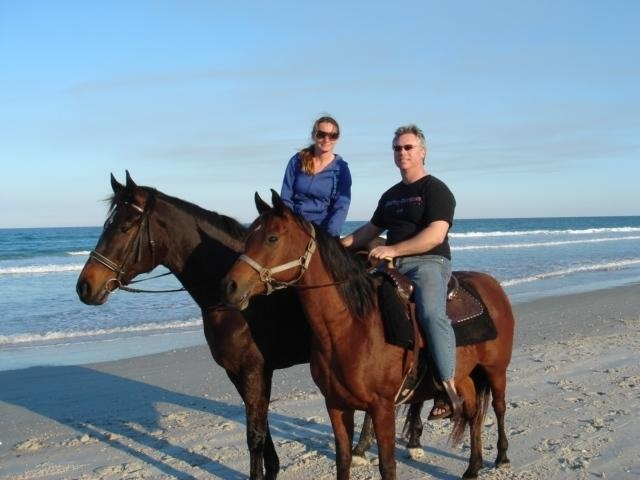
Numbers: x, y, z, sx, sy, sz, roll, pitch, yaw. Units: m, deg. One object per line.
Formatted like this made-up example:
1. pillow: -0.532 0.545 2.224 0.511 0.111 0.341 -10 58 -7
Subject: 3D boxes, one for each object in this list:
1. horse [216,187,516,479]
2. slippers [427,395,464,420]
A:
1. horse: 0.613 1.124 6.772 3.129 3.404 1.004 -8 10 -36
2. slippers: 1.377 1.841 7.084 0.209 0.220 0.569 -7 -14 26
